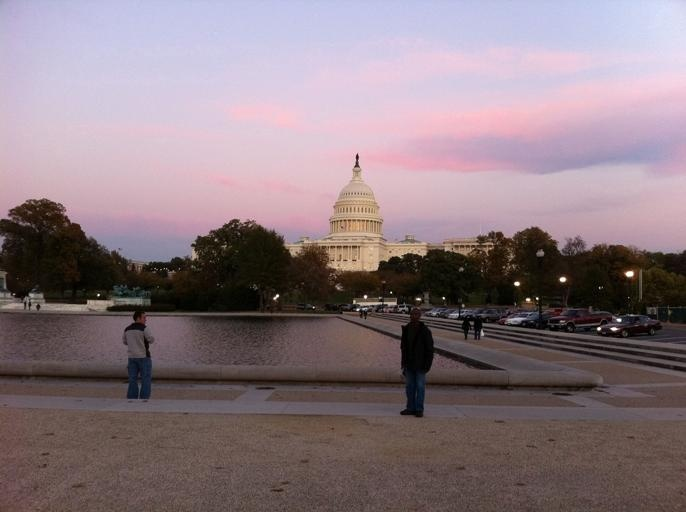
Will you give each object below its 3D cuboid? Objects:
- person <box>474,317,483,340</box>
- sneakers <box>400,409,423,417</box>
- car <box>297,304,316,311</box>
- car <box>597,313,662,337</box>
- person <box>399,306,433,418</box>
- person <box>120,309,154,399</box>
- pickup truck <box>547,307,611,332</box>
[{"bbox_3d":[6.539,3.497,39.474,0.297,1.064,1.069,0,1,14],"label":"person"},{"bbox_3d":[1.616,3.620,18.860,0.540,0.210,0.176,7,-3,10],"label":"sneakers"},{"bbox_3d":[-4.436,6.486,100.451,2.779,0.852,1.221,-3,-2,28],"label":"car"},{"bbox_3d":[14.579,3.559,41.521,3.214,0.817,1.337,1,-4,-35],"label":"car"},{"bbox_3d":[1.731,2.476,19.214,0.749,2.416,1.069,0,2,4],"label":"person"},{"bbox_3d":[-5.141,2.451,20.460,0.668,2.174,1.598,-1,2,-14],"label":"person"},{"bbox_3d":[13.781,3.675,47.414,3.733,1.107,1.505,2,-5,-28],"label":"pickup truck"}]
